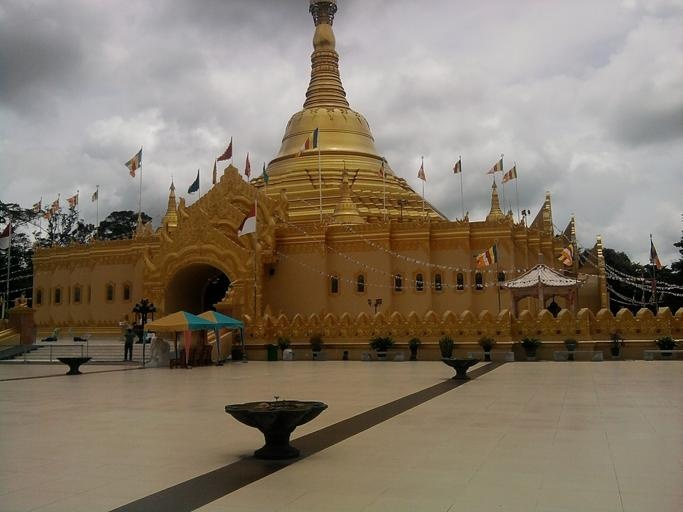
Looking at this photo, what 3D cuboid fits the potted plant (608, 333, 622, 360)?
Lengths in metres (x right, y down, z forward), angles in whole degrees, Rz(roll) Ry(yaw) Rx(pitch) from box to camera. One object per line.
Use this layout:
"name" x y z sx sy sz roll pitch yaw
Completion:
"potted plant" 13.343 4.304 26.777 0.545 1.173 0.379 0 -6 -10

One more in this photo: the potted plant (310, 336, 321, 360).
"potted plant" -1.443 5.133 30.922 0.634 1.321 0.354 -2 -6 6

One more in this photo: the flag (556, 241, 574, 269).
"flag" 17.214 -0.120 42.655 0.218 2.150 1.893 13 2 -38

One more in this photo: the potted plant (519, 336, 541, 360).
"potted plant" 9.488 4.579 27.505 0.929 1.111 1.028 2 -3 -19

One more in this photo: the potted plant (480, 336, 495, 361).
"potted plant" 7.263 4.584 27.577 0.902 1.310 0.903 1 -12 -3

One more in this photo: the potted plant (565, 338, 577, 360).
"potted plant" 11.037 4.488 26.517 0.549 0.948 1.140 -3 -6 22

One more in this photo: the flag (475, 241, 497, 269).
"flag" 9.837 -0.023 37.329 2.035 0.418 2.396 -21 18 17

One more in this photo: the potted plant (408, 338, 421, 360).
"potted plant" 3.832 4.880 29.008 0.672 1.107 0.557 -2 -6 9

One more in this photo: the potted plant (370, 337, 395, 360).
"potted plant" 2.127 4.867 29.376 1.024 1.128 1.077 0 -9 -1
